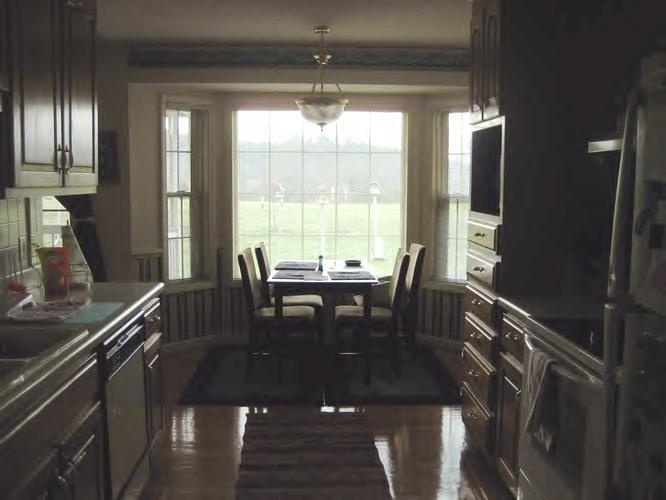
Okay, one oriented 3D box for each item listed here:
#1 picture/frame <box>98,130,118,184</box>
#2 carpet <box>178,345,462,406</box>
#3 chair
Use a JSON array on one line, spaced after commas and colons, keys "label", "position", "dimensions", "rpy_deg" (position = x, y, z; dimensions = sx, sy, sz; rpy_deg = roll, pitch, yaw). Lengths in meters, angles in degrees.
[{"label": "picture/frame", "position": [-1.487, -0.617, 3.716], "dimensions": [0.128, 0.341, 0.048], "rpy_deg": [0, 9, 3]}, {"label": "carpet", "position": [-0.086, 0.829, 3.766], "dimensions": [1.735, 0.042, 1.043], "rpy_deg": [0, 10, 0]}, {"label": "chair", "position": [-0.002, 0.420, 3.982], "dimensions": [1.059, 0.800, 0.874], "rpy_deg": [1, 5, 5]}]
